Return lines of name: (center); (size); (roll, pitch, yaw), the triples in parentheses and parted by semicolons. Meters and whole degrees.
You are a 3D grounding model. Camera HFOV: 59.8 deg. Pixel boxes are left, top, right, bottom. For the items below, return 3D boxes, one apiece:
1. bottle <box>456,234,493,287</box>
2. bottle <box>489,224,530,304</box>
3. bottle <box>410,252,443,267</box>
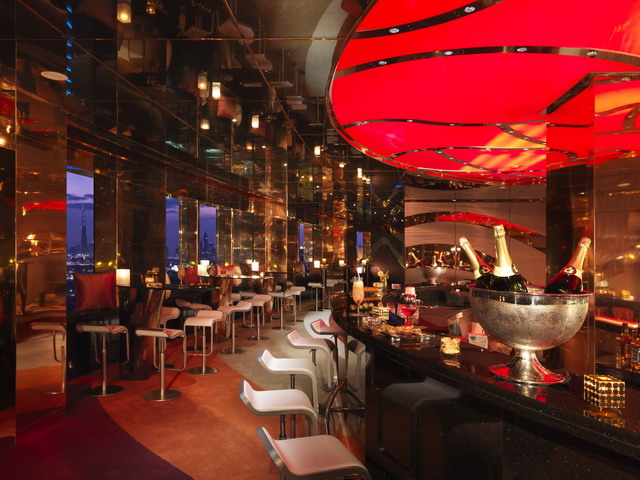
bottle: (0.945, 0.129, 3.410); (0.195, 0.283, 0.279); (-2, 9, -7)
bottle: (1.093, 0.106, 3.201); (0.206, 0.382, 0.193); (-1, 10, 0)
bottle: (2.495, 0.466, 13.053); (0.806, 0.359, 0.144); (2, 10, 16)
